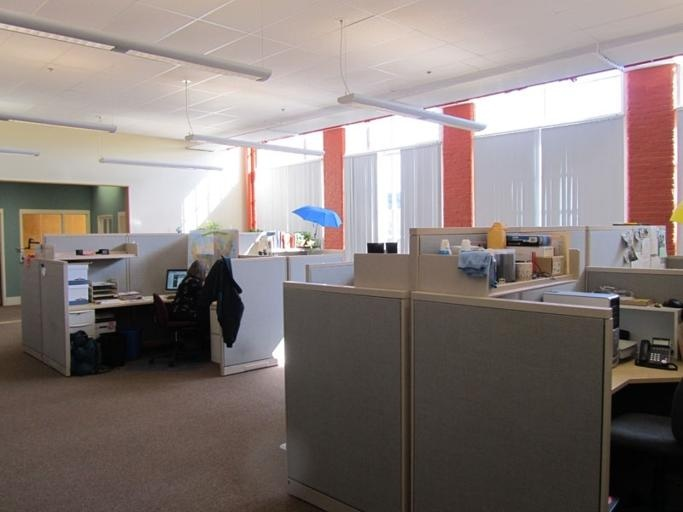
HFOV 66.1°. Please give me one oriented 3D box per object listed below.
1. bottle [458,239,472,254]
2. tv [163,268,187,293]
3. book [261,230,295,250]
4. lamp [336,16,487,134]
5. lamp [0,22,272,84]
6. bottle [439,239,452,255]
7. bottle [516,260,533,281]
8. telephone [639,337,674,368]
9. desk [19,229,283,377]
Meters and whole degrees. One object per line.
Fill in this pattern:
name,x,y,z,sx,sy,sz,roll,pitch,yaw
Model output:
bottle,0.813,-0.056,3.511,0.093,0.118,0.127,-2,-4,30
tv,-2.339,0.359,7.328,0.360,0.286,0.115,0,-5,3
book,-1.107,-0.209,9.154,0.368,0.446,0.484,-5,7,-36
lamp,0.686,-2.487,7.854,3.194,1.044,1.345,-8,11,-43
lamp,-2.061,-2.108,5.509,2.594,0.317,0.411,-4,9,-27
bottle,0.706,-0.048,3.552,0.107,0.106,0.076,-4,4,-16
bottle,1.346,0.117,3.781,0.125,0.116,0.125,0,1,30
telephone,2.299,0.714,3.820,0.240,0.214,0.204,-2,-6,33
desk,-2.629,0.557,6.938,3.779,1.681,1.674,0,8,5
